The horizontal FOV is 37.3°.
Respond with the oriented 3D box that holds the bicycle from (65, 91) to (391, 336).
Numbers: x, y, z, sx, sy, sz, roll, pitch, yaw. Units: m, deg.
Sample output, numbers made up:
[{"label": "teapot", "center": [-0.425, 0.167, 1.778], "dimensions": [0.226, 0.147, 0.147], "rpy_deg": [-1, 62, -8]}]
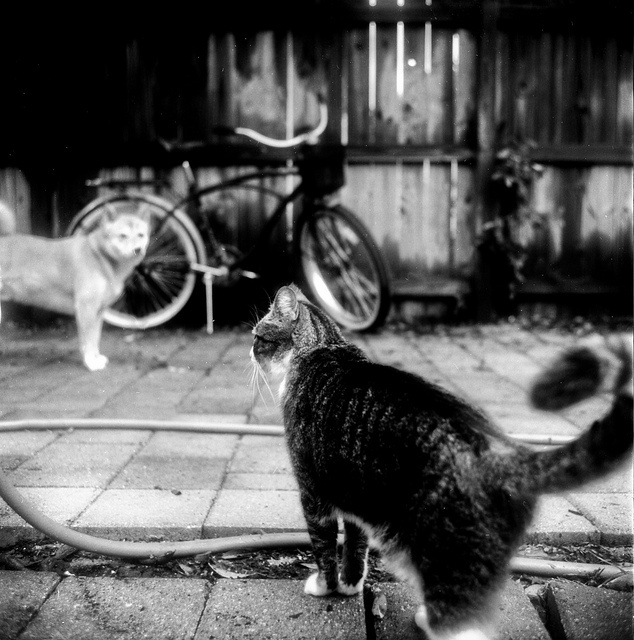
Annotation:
[{"label": "bicycle", "center": [-0.390, -0.537, 4.806], "dimensions": [1.404, 1.182, 0.839], "rpy_deg": [0, 16, 3]}]
